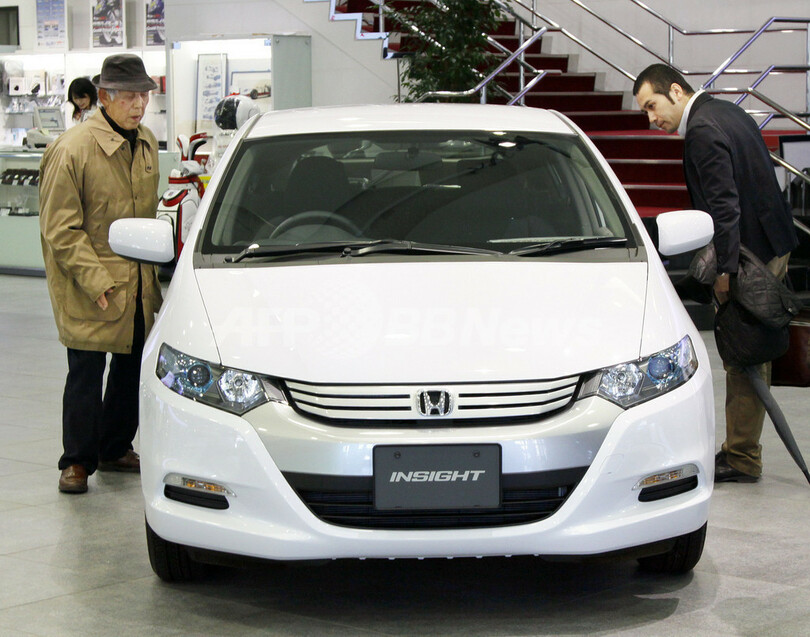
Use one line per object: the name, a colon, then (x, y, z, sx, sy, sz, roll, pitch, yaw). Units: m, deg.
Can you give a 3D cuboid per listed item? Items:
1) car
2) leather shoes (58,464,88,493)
car: (0.018, -0.164, 3.117, 1.310, 1.025, 2.130, -1, 5, -1)
leather shoes: (-1.516, 0.740, 3.599, 0.128, 0.125, 0.097, -4, 8, -26)
